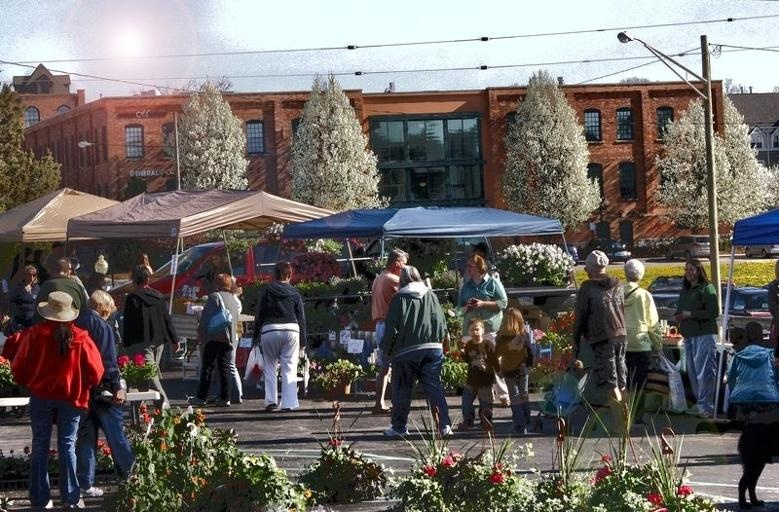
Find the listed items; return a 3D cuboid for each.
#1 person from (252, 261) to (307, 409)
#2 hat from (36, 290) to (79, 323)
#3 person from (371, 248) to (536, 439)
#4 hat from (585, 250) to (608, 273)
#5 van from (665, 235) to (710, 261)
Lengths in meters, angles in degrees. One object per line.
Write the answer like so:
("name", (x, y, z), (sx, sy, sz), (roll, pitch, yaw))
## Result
("person", (-2.071, 1.560, 23.326), (0.830, 2.623, 1.145), (0, 0, 11))
("hat", (-5.018, 0.790, 18.168), (0.514, 0.207, 0.443), (26, 32, 27))
("person", (0.401, 1.563, 21.276), (1.133, 2.866, 1.256), (0, 0, 8))
("hat", (3.566, 0.072, 21.056), (0.295, 0.323, 0.403), (4, 16, 1))
("van", (14.699, -0.370, 60.007), (1.142, 1.024, 2.748), (0, 4, -12))
